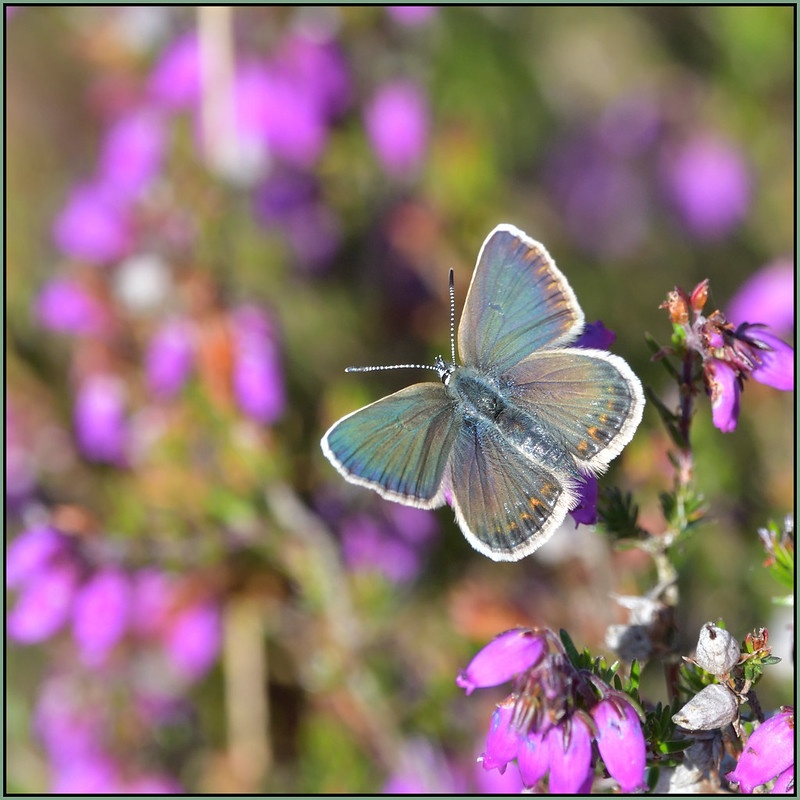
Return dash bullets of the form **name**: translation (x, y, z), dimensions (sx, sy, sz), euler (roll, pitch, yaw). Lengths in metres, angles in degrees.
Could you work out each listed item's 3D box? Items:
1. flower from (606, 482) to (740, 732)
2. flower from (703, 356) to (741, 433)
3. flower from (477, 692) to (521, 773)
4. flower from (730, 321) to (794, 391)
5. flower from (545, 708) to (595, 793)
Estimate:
- **flower**: translation (0.809, 0.626, 3.042), dimensions (0.291, 0.421, 0.706), euler (-10, 40, 0)
- **flower**: translation (0.866, -0.018, 2.745), dimensions (0.112, 0.054, 0.174), euler (-11, 89, -13)
- **flower**: translation (0.248, 0.808, 2.469), dimensions (0.102, 0.054, 0.178), euler (17, 85, 23)
- **flower**: translation (0.990, -0.134, 2.731), dimensions (0.139, 0.148, 0.185), euler (-3, 74, 27)
- **flower**: translation (0.410, 0.837, 2.416), dimensions (0.095, 0.094, 0.187), euler (-5, 74, 27)
